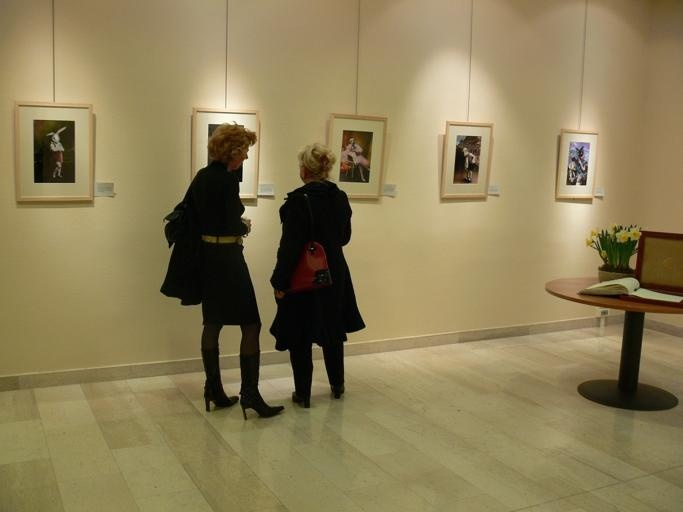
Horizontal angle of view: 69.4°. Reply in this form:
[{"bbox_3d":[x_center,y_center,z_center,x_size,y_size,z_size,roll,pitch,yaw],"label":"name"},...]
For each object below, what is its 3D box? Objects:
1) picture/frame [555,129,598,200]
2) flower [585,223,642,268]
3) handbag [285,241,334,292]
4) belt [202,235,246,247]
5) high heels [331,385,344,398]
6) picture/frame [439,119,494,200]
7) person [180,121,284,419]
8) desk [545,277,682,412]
[{"bbox_3d":[3.248,-1.235,6.827,0.705,0.946,0.126,-3,9,-27],"label":"picture/frame"},{"bbox_3d":[2.789,-0.038,4.987,0.477,0.571,0.460,1,-7,17],"label":"flower"},{"bbox_3d":[-0.286,0.082,4.092,0.375,0.459,0.146,1,10,16],"label":"handbag"},{"bbox_3d":[-1.011,-0.128,4.139,0.320,0.085,0.095,0,9,-12],"label":"belt"},{"bbox_3d":[-0.033,1.284,4.689,0.075,0.075,0.160,-1,18,-4],"label":"high heels"},{"bbox_3d":[1.518,-1.213,6.115,0.947,1.308,0.090,-1,7,-30],"label":"picture/frame"},{"bbox_3d":[-0.962,0.149,4.213,0.724,2.484,0.351,1,8,-5],"label":"person"},{"bbox_3d":[2.644,0.768,4.880,1.184,0.875,1.234,-4,16,-12],"label":"desk"}]
